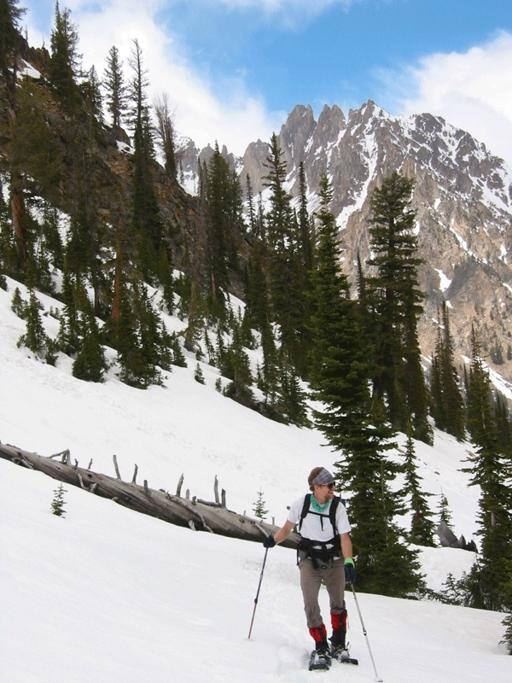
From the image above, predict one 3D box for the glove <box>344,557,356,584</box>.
[{"bbox_3d":[2.569,6.247,33.887,0.174,0.621,0.393,5,-9,-16],"label":"glove"}]
